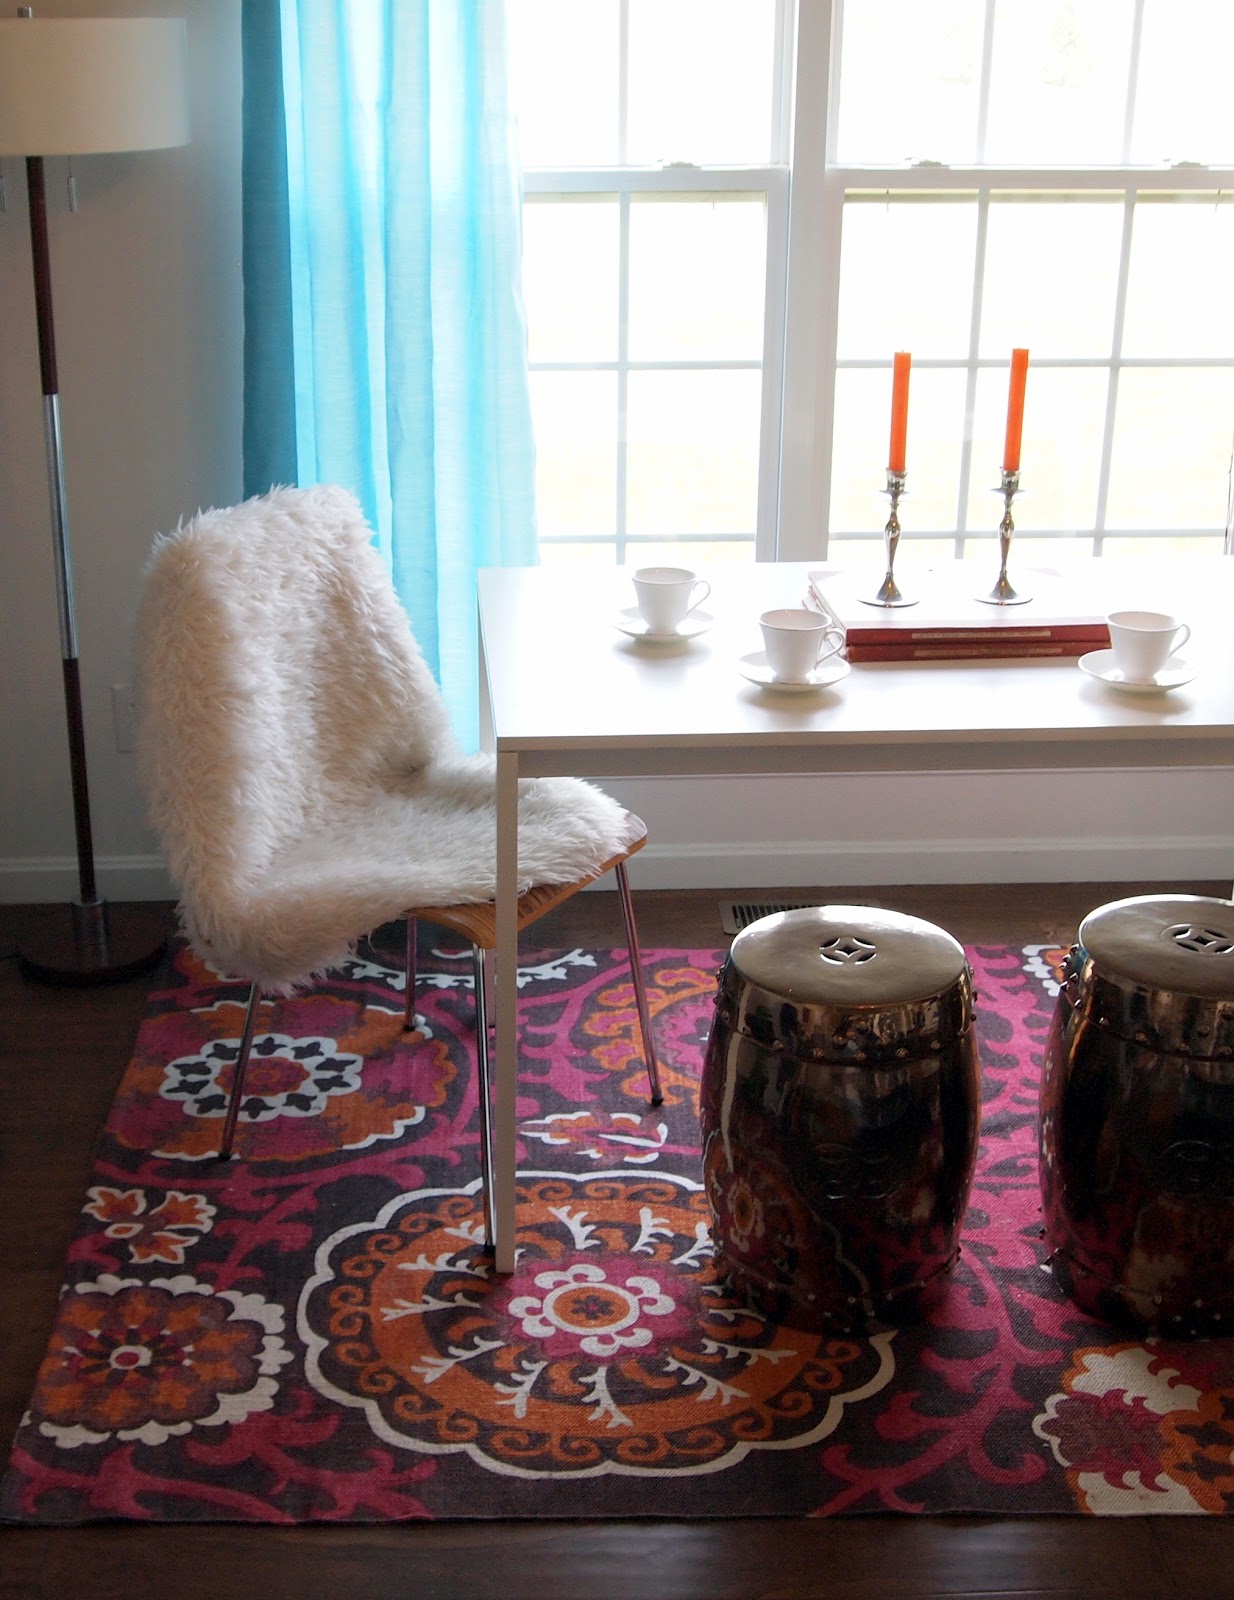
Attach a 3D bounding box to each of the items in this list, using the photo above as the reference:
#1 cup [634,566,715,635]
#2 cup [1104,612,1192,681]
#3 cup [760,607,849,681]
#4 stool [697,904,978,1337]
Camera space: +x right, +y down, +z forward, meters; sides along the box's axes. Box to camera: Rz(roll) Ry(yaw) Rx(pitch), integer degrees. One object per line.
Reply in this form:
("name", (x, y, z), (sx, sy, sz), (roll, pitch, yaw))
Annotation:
("cup", (0.066, -0.240, 1.677), (0.119, 0.083, 0.095), (-1, 18, -5))
("cup", (0.562, -0.177, 1.471), (0.105, 0.068, 0.083), (-3, 19, -3))
("cup", (0.202, -0.168, 1.486), (0.116, 0.069, 0.078), (0, 23, -4))
("stool", (0.242, 0.355, 1.476), (0.283, 0.429, 0.276), (7, 24, 20))
